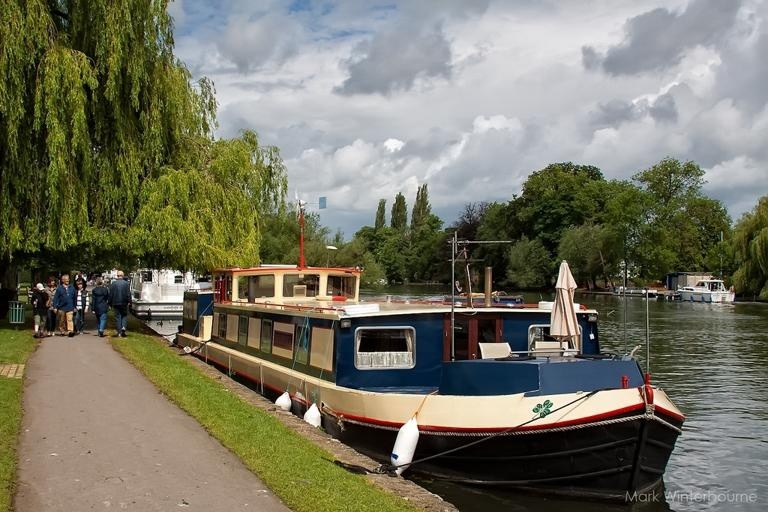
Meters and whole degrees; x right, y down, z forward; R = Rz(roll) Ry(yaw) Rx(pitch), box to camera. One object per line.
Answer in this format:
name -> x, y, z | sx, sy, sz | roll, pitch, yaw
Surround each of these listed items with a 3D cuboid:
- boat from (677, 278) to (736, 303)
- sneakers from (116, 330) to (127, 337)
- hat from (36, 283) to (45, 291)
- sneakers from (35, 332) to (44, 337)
boat -> 38.106, 4.363, 78.469 | 4.131, 1.808, 3.049 | -3, 4, -23
sneakers -> -10.812, 3.175, 27.871 | 0.197, 0.257, 0.589 | 1, 4, -16
hat -> -13.363, 1.209, 26.351 | 0.288, 0.262, 0.486 | 1, 1, -33
sneakers -> -13.565, 3.088, 26.635 | 0.177, 0.208, 0.531 | 1, 3, -24
